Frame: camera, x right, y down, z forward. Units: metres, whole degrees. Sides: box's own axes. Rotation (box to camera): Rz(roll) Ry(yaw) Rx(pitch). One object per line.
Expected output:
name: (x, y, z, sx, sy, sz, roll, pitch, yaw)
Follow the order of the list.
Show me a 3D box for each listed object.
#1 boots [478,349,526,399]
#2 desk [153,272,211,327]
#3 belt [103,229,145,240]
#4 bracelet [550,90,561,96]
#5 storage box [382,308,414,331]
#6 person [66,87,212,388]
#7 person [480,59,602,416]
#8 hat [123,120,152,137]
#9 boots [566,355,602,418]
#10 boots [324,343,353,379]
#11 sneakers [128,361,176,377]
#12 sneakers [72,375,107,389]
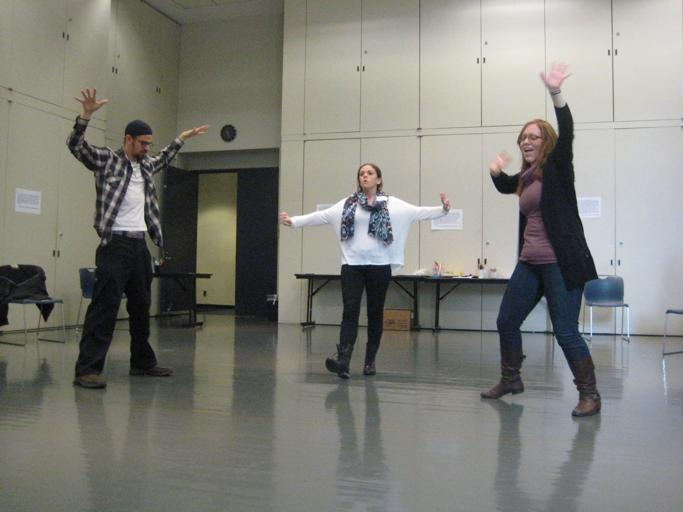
boots: (1.131, 0.820, 3.946, 0.320, 0.362, 0.155, -5, 5, 8)
desk: (-2.575, 0.769, 9.626, 0.804, 0.912, 0.867, -2, -6, 17)
belt: (-1.594, -0.157, 4.180, 0.275, 0.052, 0.092, 1, 0, -41)
bracelet: (1.342, -1.014, 3.480, 0.040, 0.016, 0.059, -2, 5, 9)
storage box: (0.820, 0.917, 8.010, 0.379, 0.297, 0.403, 1, -1, 14)
person: (-1.636, -0.098, 4.205, 0.796, 1.803, 0.478, 1, -1, -35)
person: (1.338, -0.095, 3.638, 0.651, 2.203, 0.434, 0, -1, 27)
hat: (-1.539, -0.953, 4.257, 0.138, 0.104, 0.148, -1, 12, -13)
boots: (1.569, 0.825, 3.567, 0.165, 0.366, 0.275, 1, 0, 29)
boots: (-0.011, 0.836, 4.486, 0.191, 0.296, 0.319, 1, 0, 1)
sneakers: (-1.522, 0.894, 4.514, 0.324, 0.161, 0.130, 0, -3, -1)
sneakers: (-1.824, 0.912, 4.079, 0.209, 0.102, 0.107, -2, -1, 24)
